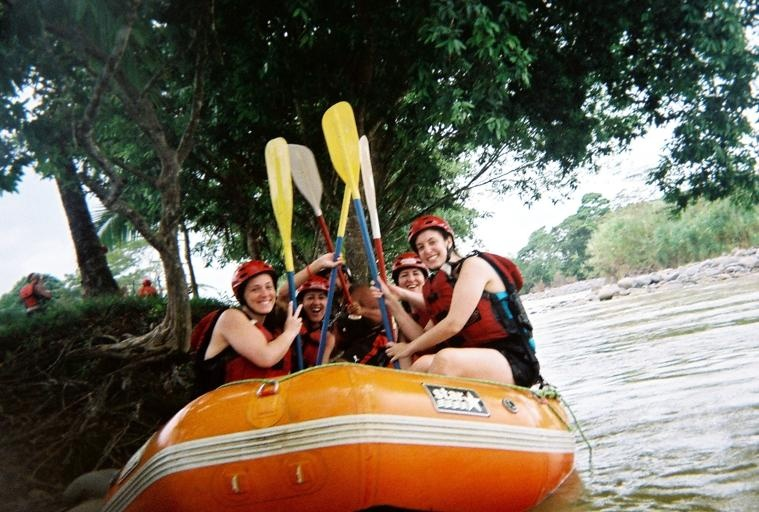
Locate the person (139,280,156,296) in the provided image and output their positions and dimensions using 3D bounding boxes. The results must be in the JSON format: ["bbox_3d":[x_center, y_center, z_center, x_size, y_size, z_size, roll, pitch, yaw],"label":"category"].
[{"bbox_3d":[-5.975,0.784,12.545,0.405,0.479,1.149,-8,2,-26],"label":"person"}]

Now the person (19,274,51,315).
[{"bbox_3d":[-7.253,0.759,10.295,0.473,0.975,0.972,-9,2,-37],"label":"person"}]

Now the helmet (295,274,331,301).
[{"bbox_3d":[-0.730,0.341,5.489,0.336,0.178,0.235,-5,2,0],"label":"helmet"}]

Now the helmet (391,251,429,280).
[{"bbox_3d":[0.323,0.117,5.743,0.255,0.203,0.396,-1,-33,2],"label":"helmet"}]

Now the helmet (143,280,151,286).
[{"bbox_3d":[-6.087,0.688,12.758,0.138,0.159,0.192,-8,0,-7],"label":"helmet"}]

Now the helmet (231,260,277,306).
[{"bbox_3d":[-1.205,0.172,4.580,0.351,0.498,0.416,1,6,-32],"label":"helmet"}]

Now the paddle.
[{"bbox_3d":[-0.157,-0.338,5.422,0.969,3.058,0.126,-16,-10,9],"label":"paddle"}]
